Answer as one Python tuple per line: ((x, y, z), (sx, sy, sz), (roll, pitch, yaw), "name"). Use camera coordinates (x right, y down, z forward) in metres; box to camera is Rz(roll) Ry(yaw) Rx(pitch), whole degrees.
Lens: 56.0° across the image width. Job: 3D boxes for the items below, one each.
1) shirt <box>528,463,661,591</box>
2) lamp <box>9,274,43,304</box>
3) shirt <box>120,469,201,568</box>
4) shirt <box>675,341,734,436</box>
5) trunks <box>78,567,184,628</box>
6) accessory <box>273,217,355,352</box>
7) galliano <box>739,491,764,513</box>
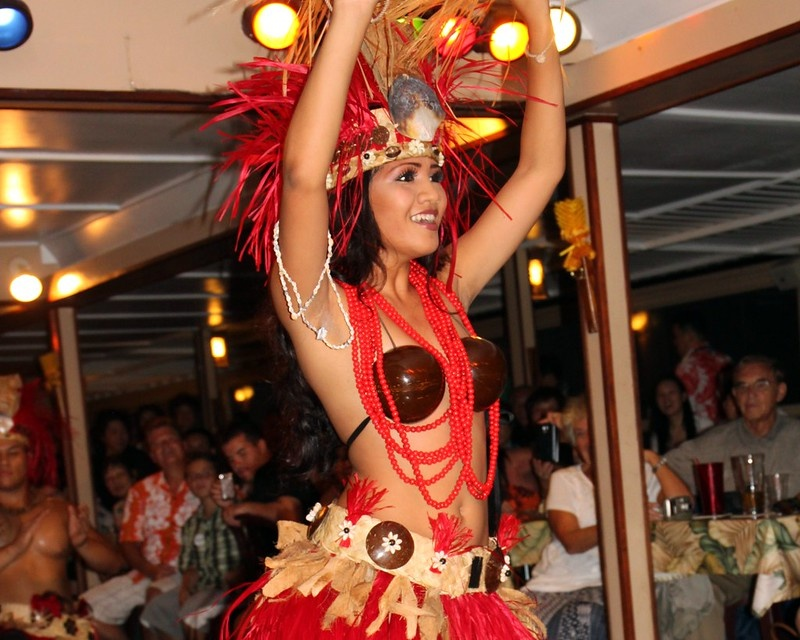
((0.863, 0.913, 3.254), (0.617, 0.724, 0.406), (5, -13, -9), "shirt")
((-2.420, -0.211, 4.824), (0.178, 0.183, 0.218), (2, -6, -29), "lamp")
((-1.485, 1.265, 4.684), (0.474, 0.446, 0.224), (12, -28, -7), "shirt")
((2.214, 0.487, 5.518), (0.410, 0.561, 0.224), (-2, -8, -34), "shirt")
((-1.659, 1.658, 4.577), (0.413, 0.347, 0.166), (-21, -24, -27), "trunks")
((-0.172, -0.055, 1.425), (0.053, 0.268, 0.141), (8, 24, 34), "accessory")
((1.417, 0.738, 3.015), (0.084, 0.100, 0.088), (0, -7, 13), "galliano")
